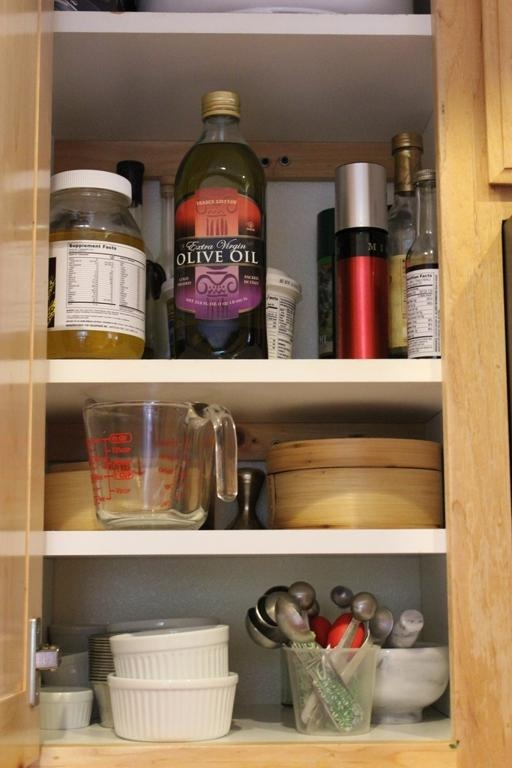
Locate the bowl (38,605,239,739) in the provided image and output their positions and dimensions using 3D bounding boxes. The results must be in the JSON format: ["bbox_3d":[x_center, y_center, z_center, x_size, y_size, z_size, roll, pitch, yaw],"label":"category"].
[{"bbox_3d":[-0.079,0.281,0.722,0.123,0.093,0.125,-1,-15,0],"label":"bowl"}]

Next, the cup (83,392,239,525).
[{"bbox_3d":[-0.093,0.085,0.737,0.159,0.125,0.126,-2,-5,21],"label":"cup"}]

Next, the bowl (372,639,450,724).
[{"bbox_3d":[0.149,0.295,0.727,0.085,0.060,0.086,0,-5,0],"label":"bowl"}]

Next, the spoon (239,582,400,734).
[{"bbox_3d":[0.048,0.269,0.742,0.161,0.149,0.138,2,-18,-6],"label":"spoon"}]
